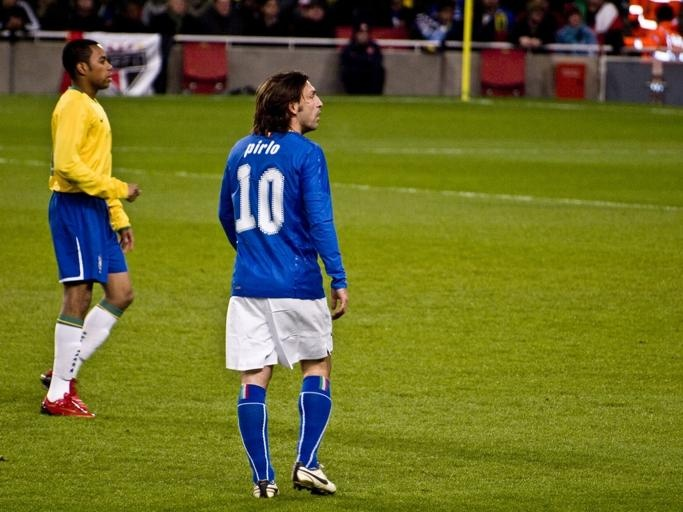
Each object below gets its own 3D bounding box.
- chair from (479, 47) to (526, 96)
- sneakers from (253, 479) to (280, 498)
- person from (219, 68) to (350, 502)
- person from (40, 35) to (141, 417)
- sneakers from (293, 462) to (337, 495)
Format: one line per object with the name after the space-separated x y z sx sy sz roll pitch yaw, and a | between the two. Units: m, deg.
1.190 -1.297 10.926 0.359 0.347 0.338 6 10 39 | chair
-0.459 1.441 9.640 0.083 0.068 0.162 -1 -26 0 | sneakers
-0.364 0.163 9.722 0.809 2.617 0.643 2 8 -2 | person
-1.698 -0.205 10.623 0.625 2.520 0.611 1 8 -9 | person
-0.161 1.384 9.707 0.125 0.179 0.361 -12 -26 37 | sneakers
